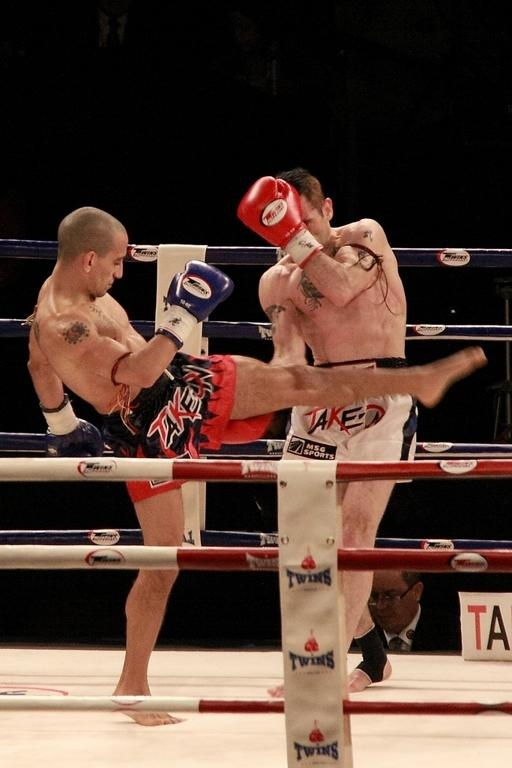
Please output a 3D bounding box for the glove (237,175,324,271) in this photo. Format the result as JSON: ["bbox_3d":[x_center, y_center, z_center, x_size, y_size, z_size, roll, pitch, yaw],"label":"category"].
[{"bbox_3d":[0.079,-0.511,2.838,0.325,0.210,0.125,34,-11,-14],"label":"glove"}]

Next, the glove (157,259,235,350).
[{"bbox_3d":[-0.160,-0.252,2.605,0.144,0.067,0.209,3,50,-37],"label":"glove"}]

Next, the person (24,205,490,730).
[{"bbox_3d":[-0.142,0.219,2.803,1.100,1.525,0.954,-12,20,-31],"label":"person"}]

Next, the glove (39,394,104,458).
[{"bbox_3d":[-0.611,0.140,3.034,0.095,0.205,0.241,4,23,33],"label":"glove"}]
